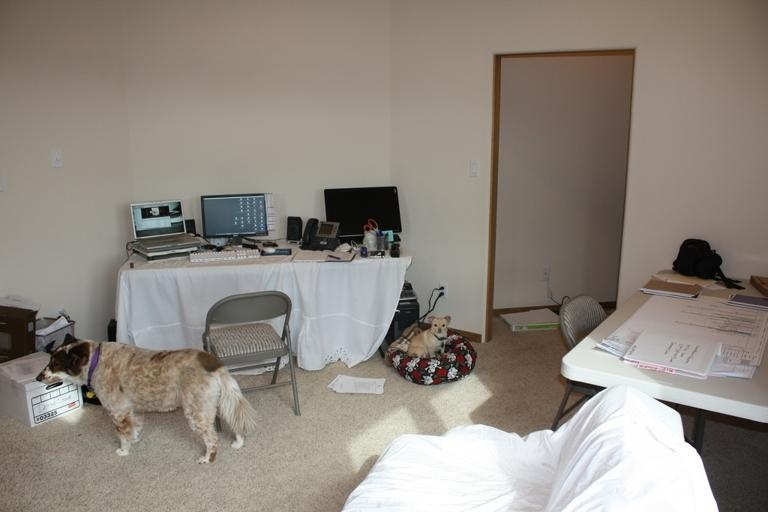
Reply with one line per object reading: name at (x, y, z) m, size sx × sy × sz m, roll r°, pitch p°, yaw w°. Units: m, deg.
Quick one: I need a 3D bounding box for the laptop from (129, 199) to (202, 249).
laptop at (-1.942, -0.287, 4.412) m, size 0.494 × 0.336 × 0.484 m, roll -6°, pitch 13°, yaw -34°

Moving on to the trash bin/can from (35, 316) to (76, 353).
trash bin/can at (-2.723, 0.634, 4.239) m, size 0.310 × 0.195 × 0.309 m, roll 1°, pitch 12°, yaw -7°

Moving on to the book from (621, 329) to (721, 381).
book at (1.520, 0.517, 2.705) m, size 0.275 × 0.067 × 0.284 m, roll 16°, pitch 29°, yaw 38°

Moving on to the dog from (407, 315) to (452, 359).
dog at (0.368, 0.701, 4.359) m, size 0.348 × 0.398 × 0.219 m, roll 0°, pitch 9°, yaw 32°

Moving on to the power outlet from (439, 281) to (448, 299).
power outlet at (0.572, 0.338, 4.965) m, size 0.118 × 0.120 × 0.031 m, roll 2°, pitch 3°, yaw 25°

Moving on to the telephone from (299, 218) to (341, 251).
telephone at (-0.583, -0.191, 4.647) m, size 0.336 × 0.242 × 0.291 m, roll 6°, pitch 24°, yaw 10°

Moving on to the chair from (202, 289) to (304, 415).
chair at (-1.026, 0.706, 3.864) m, size 0.669 × 1.004 × 0.621 m, roll -7°, pitch 15°, yaw -32°

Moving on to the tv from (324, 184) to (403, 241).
tv at (-0.212, -0.400, 4.838) m, size 0.546 × 0.384 × 0.060 m, roll 1°, pitch -17°, yaw -12°

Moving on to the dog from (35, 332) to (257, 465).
dog at (-1.609, 0.972, 3.481) m, size 1.473 × 0.774 × 0.390 m, roll 4°, pitch 5°, yaw 1°

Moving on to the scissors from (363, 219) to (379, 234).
scissors at (-0.120, -0.283, 4.808) m, size 0.095 × 0.160 × 0.042 m, roll 9°, pitch -1°, yaw -17°

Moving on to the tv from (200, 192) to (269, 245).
tv at (-1.363, -0.343, 4.631) m, size 0.488 × 0.350 × 0.058 m, roll -3°, pitch 7°, yaw -15°
